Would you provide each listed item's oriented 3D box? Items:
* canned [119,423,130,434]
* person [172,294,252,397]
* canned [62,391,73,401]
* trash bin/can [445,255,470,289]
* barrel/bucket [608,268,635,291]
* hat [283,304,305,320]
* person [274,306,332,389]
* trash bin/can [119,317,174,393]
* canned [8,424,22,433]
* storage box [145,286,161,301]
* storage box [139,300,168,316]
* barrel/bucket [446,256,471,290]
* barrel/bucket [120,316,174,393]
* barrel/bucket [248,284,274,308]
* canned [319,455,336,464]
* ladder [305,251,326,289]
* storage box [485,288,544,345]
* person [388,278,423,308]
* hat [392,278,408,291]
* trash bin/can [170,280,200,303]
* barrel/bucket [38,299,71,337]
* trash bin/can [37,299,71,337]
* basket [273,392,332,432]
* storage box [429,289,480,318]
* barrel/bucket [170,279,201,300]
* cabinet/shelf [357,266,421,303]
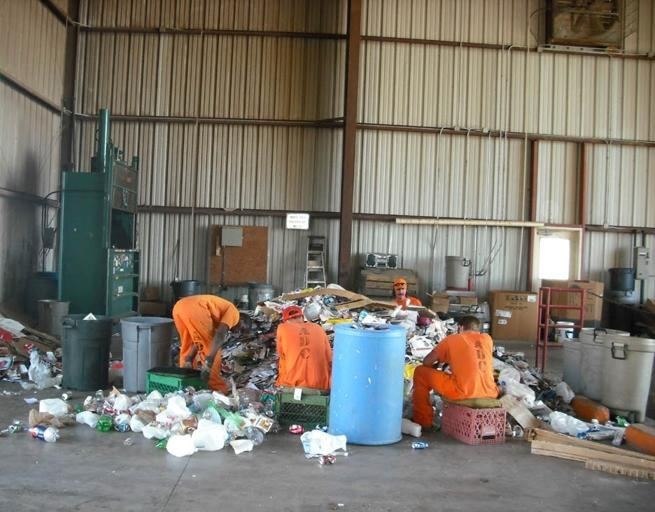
[{"bbox_3d":[-2.156,1.806,5.999,0.066,0.061,0.126,3,5,-18],"label":"canned"},{"bbox_3d":[-1.530,1.094,7.108,0.748,1.213,1.204,-1,11,-15],"label":"person"},{"bbox_3d":[-3.242,1.732,7.078,0.116,0.120,0.129,-1,-1,-18],"label":"canned"},{"bbox_3d":[2.949,0.404,13.219,0.666,0.855,0.649,7,-9,-31],"label":"trash bin/can"},{"bbox_3d":[6.810,0.538,13.214,0.540,0.505,0.451,-1,-4,20],"label":"barrel/bucket"},{"bbox_3d":[-0.401,0.639,6.545,0.201,0.167,0.334,-2,1,-1],"label":"hat"},{"bbox_3d":[-0.264,1.022,6.621,0.771,1.329,0.787,0,6,2],"label":"person"},{"bbox_3d":[-2.265,1.266,7.540,0.823,0.927,0.780,1,1,7],"label":"trash bin/can"},{"bbox_3d":[-3.250,1.780,5.920,0.082,0.116,0.061,13,-7,-36],"label":"canned"},{"bbox_3d":[-4.035,0.838,12.899,0.377,0.314,0.387,5,11,15],"label":"storage box"},{"bbox_3d":[-3.854,1.144,12.541,0.340,0.246,0.486,0,-2,15],"label":"storage box"},{"bbox_3d":[2.941,0.389,12.941,0.642,0.899,0.715,0,-5,7],"label":"barrel/bucket"},{"bbox_3d":[-2.572,1.252,7.565,0.837,0.920,0.767,1,2,0],"label":"barrel/bucket"},{"bbox_3d":[-1.475,0.922,12.698,0.470,0.625,0.746,-2,12,-24],"label":"barrel/bucket"},{"bbox_3d":[-0.005,1.953,5.482,0.088,0.035,0.069,0,2,-31],"label":"canned"},{"bbox_3d":[-0.257,0.314,13.067,0.490,0.858,0.379,2,10,-1],"label":"ladder"},{"bbox_3d":[4.262,1.379,13.106,1.030,1.133,1.105,0,-1,3],"label":"storage box"},{"bbox_3d":[1.460,0.691,10.941,0.690,0.677,0.370,-4,-3,-14],"label":"person"},{"bbox_3d":[1.267,0.450,9.771,0.234,0.263,0.314,3,-14,-13],"label":"hat"},{"bbox_3d":[-3.128,0.739,12.484,0.626,0.472,0.580,0,-9,-7],"label":"trash bin/can"},{"bbox_3d":[-4.411,1.006,9.171,0.535,0.586,0.555,3,2,0],"label":"barrel/bucket"},{"bbox_3d":[-4.430,1.002,9.208,0.530,0.593,0.571,2,3,-8],"label":"trash bin/can"},{"bbox_3d":[-0.303,1.669,6.285,0.671,0.411,0.492,3,15,2],"label":"basket"},{"bbox_3d":[2.779,1.022,12.641,1.066,0.459,0.634,1,11,-6],"label":"storage box"},{"bbox_3d":[-3.127,0.786,12.479,0.604,0.475,0.554,-1,-7,0],"label":"barrel/bucket"},{"bbox_3d":[1.349,0.837,12.569,1.209,1.292,0.672,2,-11,-11],"label":"cabinet/shelf"}]
